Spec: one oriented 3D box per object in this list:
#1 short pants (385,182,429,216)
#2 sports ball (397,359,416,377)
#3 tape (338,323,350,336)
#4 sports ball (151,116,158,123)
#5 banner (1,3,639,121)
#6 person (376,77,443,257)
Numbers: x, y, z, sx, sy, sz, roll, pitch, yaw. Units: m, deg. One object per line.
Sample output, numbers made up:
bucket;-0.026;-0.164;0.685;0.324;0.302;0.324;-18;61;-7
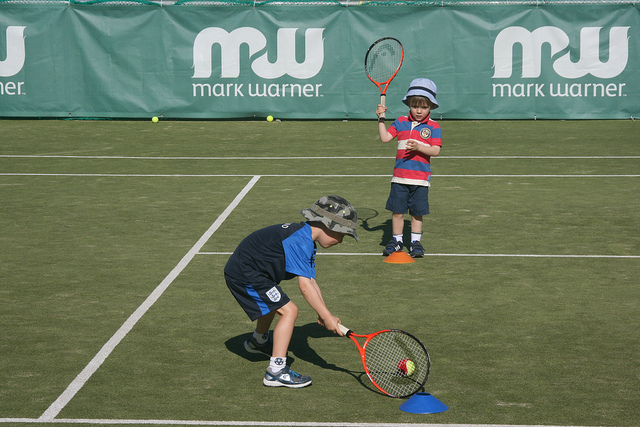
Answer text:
short pants;1.179;-0.205;10.882;0.584;0.456;0.286;2;-12;23
sports ball;0.832;1.442;7.901;0.149;0.126;0.189;5;9;30
tape;0.243;1.095;7.966;0.086;0.135;0.106;2;12;27
sports ball;-4.440;-2.522;22.397;0.192;0.148;0.151;12;32;-16
banner;-0.105;-3.995;21.952;16.220;3.774;1.143;-2;11;5
person;1.177;-0.600;10.784;0.710;2.231;0.757;3;13;33
